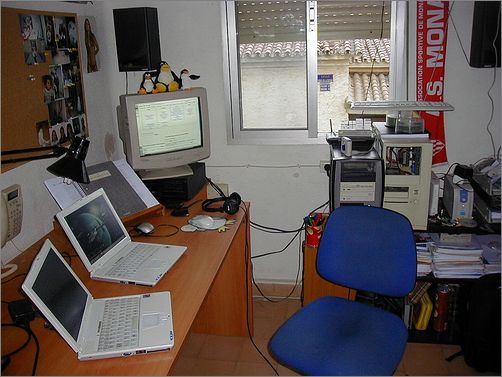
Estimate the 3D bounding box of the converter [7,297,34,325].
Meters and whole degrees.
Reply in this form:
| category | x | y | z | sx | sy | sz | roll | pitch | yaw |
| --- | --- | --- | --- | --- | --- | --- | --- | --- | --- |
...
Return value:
| category | x | y | z | sx | sy | sz | roll | pitch | yaw |
| --- | --- | --- | --- | --- | --- | --- | --- | --- | --- |
| converter | -0.945 | 0.511 | 1.600 | 0.070 | 0.061 | 0.129 | -1 | 20 | -38 |

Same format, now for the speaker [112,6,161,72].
| category | x | y | z | sx | sy | sz | roll | pitch | yaw |
| --- | --- | --- | --- | --- | --- | --- | --- | --- | --- |
| speaker | -0.859 | -1.134 | 2.959 | 0.340 | 0.455 | 0.204 | -9 | 17 | -17 |

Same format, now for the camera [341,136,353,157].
| category | x | y | z | sx | sy | sz | roll | pitch | yaw |
| --- | --- | --- | --- | --- | --- | --- | --- | --- | --- |
| camera | 0.639 | -0.277 | 2.594 | 0.069 | 0.158 | 0.135 | -6 | 9 | -11 |

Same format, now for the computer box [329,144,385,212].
| category | x | y | z | sx | sy | sz | roll | pitch | yaw |
| --- | --- | --- | --- | --- | --- | --- | --- | --- | --- |
| computer box | 0.769 | -0.118 | 2.774 | 0.385 | 0.615 | 0.487 | 4 | 44 | 19 |

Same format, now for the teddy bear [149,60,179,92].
| category | x | y | z | sx | sy | sz | roll | pitch | yaw |
| --- | --- | --- | --- | --- | --- | --- | --- | --- | --- |
| teddy bear | -0.605 | -0.781 | 2.772 | 0.219 | 0.243 | 0.146 | -8 | -3 | -7 |

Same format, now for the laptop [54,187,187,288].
| category | x | y | z | sx | sy | sz | roll | pitch | yaw |
| --- | --- | --- | --- | --- | --- | --- | --- | --- | --- |
| laptop | -0.634 | 0.276 | 2.008 | 0.526 | 0.375 | 0.436 | 6 | 25 | 10 |

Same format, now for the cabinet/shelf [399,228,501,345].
| category | x | y | z | sx | sy | sz | roll | pitch | yaw |
| --- | --- | --- | --- | --- | --- | --- | --- | --- | --- |
| cabinet/shelf | 1.513 | 0.785 | 3.035 | 0.626 | 0.883 | 1.252 | 2 | 15 | 22 |

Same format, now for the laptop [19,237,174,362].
| category | x | y | z | sx | sy | sz | roll | pitch | yaw |
| --- | --- | --- | --- | --- | --- | --- | --- | --- | --- |
| laptop | -0.597 | 0.450 | 1.603 | 0.500 | 0.376 | 0.435 | -7 | 31 | -2 |

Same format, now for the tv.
| category | x | y | z | sx | sy | sz | roll | pitch | yaw |
| --- | --- | --- | --- | --- | --- | --- | --- | --- | --- |
| tv | -0.575 | -0.475 | 2.890 | 0.792 | 0.768 | 0.583 | -14 | 23 | -35 |

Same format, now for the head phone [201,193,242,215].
| category | x | y | z | sx | sy | sz | roll | pitch | yaw |
| --- | --- | --- | --- | --- | --- | --- | --- | --- | --- |
| head phone | -0.193 | 0.109 | 2.584 | 0.190 | 0.074 | 0.158 | -5 | 15 | 9 |
